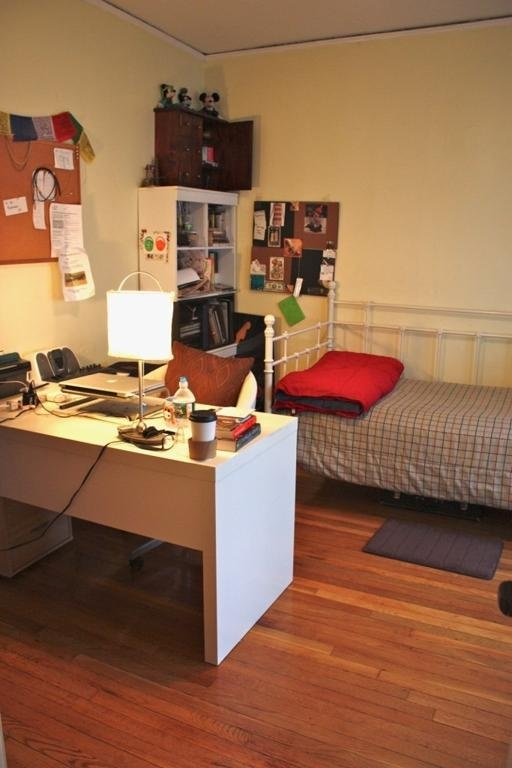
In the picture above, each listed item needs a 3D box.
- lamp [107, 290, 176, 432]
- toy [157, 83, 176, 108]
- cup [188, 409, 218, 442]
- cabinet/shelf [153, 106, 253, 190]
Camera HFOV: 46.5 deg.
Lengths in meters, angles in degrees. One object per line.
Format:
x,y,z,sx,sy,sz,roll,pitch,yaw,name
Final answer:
-0.390,-0.108,2.021,0.215,0.435,0.531,-1,9,-9,lamp
-0.531,-1.735,3.600,0.070,0.156,0.159,5,10,25,toy
-0.143,0.113,1.608,0.065,0.083,0.069,1,9,0,cup
-0.354,-1.476,3.817,0.352,0.490,0.652,13,21,32,cabinet/shelf
